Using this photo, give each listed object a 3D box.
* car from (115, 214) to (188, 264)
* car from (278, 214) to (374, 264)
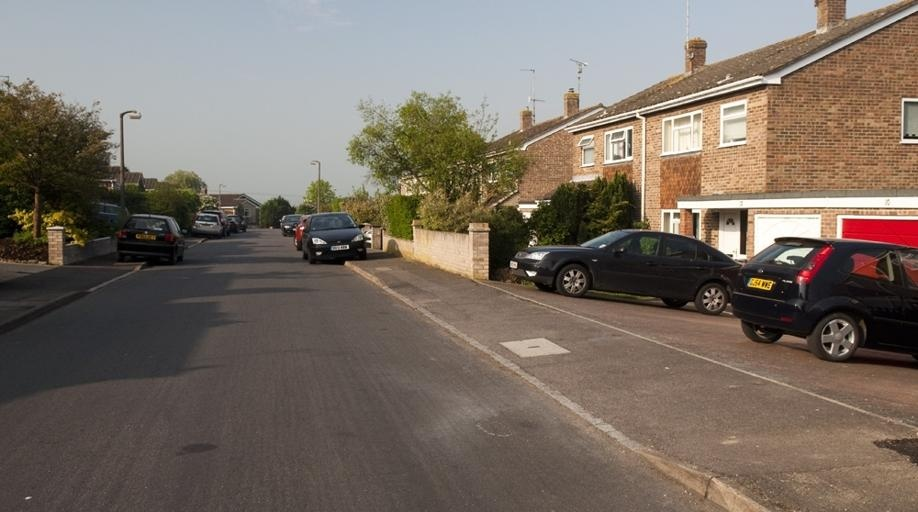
[{"bbox_3d":[-12.653,-0.601,27.278,2.131,1.956,1.016,0,6,-6],"label":"car"},{"bbox_3d":[-5.647,-0.767,29.411,2.245,2.121,3.822,-2,7,-22],"label":"car"}]
